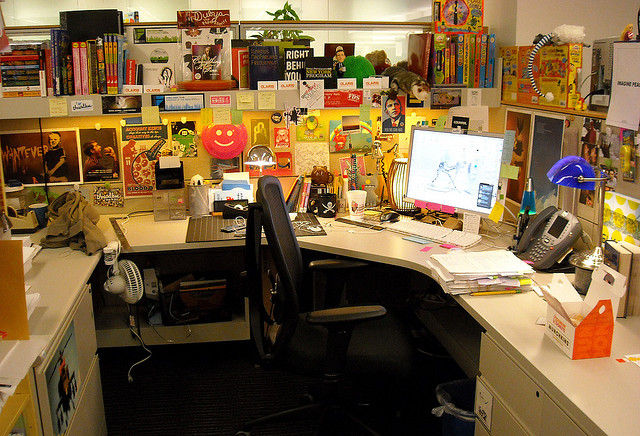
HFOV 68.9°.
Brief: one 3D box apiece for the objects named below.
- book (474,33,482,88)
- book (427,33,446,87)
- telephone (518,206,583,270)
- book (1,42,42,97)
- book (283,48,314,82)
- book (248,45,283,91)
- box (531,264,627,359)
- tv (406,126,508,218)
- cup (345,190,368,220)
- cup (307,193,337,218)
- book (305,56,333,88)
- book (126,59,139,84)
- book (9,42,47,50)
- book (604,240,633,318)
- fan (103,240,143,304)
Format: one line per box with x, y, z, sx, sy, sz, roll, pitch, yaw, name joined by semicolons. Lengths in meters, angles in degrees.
1.074;-1.097;3.204;0.041;0.353;0.067;4;18;16;book
0.794;-1.106;3.194;0.104;0.307;0.322;1;6;3;book
1.170;0.097;2.406;0.119;0.330;0.263;38;10;-19;telephone
-1.900;-0.962;3.016;0.277;0.324;0.155;-7;18;-16;book
-0.175;-1.054;3.216;0.227;0.217;0.054;-3;10;-6;book
-0.377;-1.034;3.155;0.299;0.371;0.043;-4;27;-4;book
1.020;0.358;1.877;0.254;0.315;0.303;0;9;8;box
0.836;-0.297;2.848;0.517;0.395;0.039;14;14;37;tv
0.245;-0.100;3.141;0.161;0.181;0.167;-2;10;0;cup
0.001;-0.089;3.212;0.202;0.147;0.125;-2;8;-8;cup
-0.016;-1.027;3.229;0.195;0.201;0.110;1;21;-1;book
-1.253;-0.990;3.118;0.048;0.141;0.149;1;11;-4;book
-1.885;-1.119;3.006;0.310;0.044;0.151;10;22;31;book
1.287;0.263;2.045;0.083;0.290;0.201;0;18;5;book
-1.202;0.335;2.865;0.210;0.388;0.271;0;16;-18;fan
